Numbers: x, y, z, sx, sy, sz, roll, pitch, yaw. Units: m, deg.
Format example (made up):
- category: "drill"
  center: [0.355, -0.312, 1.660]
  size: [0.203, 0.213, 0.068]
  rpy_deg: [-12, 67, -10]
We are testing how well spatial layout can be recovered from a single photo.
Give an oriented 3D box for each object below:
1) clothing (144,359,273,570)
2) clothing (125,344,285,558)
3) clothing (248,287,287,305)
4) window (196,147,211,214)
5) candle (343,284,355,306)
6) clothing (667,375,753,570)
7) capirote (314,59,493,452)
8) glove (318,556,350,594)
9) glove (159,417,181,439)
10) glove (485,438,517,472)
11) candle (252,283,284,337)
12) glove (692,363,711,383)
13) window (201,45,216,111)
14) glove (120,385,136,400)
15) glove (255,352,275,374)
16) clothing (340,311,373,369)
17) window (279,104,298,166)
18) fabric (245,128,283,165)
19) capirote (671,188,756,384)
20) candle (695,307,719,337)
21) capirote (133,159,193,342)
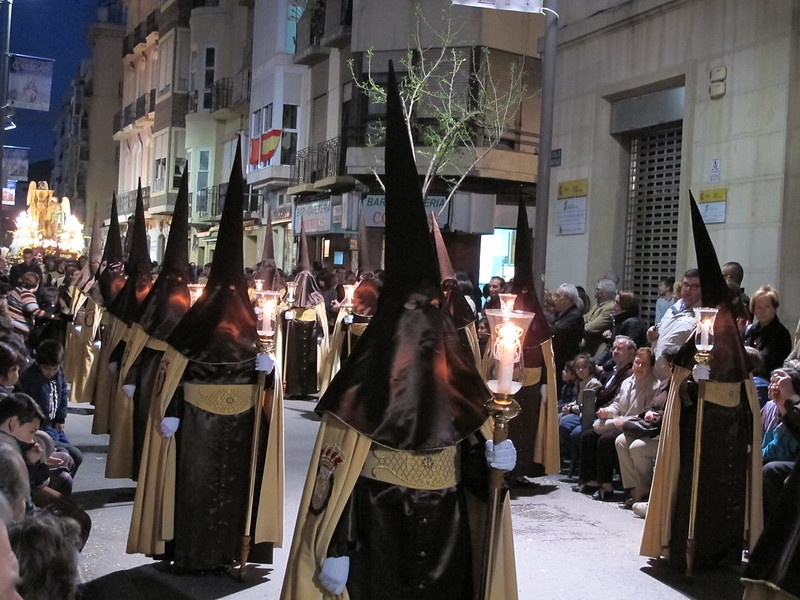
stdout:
- category: "clothing"
  center: [-1.625, 1.226, 7.851]
  size: [1.332, 2.605, 0.730]
  rpy_deg: [2, 20, -13]
- category: "clothing"
  center: [-1.657, 1.170, 7.824]
  size: [1.373, 2.725, 0.757]
  rpy_deg: [2, 20, -14]
- category: "clothing"
  center: [-1.485, -0.046, 9.684]
  size: [0.316, 0.108, 0.323]
  rpy_deg: [-1, -1, 42]
- category: "window"
  center: [-8.875, -5.285, 39.329]
  size: [0.092, 3.049, 0.707]
  rpy_deg: [20, 20, 41]
- category: "candle"
  center: [-0.799, -0.086, 14.307]
  size: [0.279, 0.348, 0.277]
  rpy_deg: [1, -1, -22]
- category: "clothing"
  center: [3.194, 1.427, 8.558]
  size: [0.580, 2.022, 0.474]
  rpy_deg: [-13, -47, 32]
- category: "capirote"
  center: [0.055, -0.197, 5.847]
  size: [1.070, 2.351, 0.437]
  rpy_deg: [2, 7, 4]
- category: "glove"
  center: [-0.437, 1.838, 5.838]
  size: [0.202, 0.281, 0.183]
  rpy_deg: [0, 7, -11]
- category: "glove"
  center: [-2.031, 1.123, 7.713]
  size: [0.170, 0.174, 0.156]
  rpy_deg: [3, -9, 21]
- category: "glove"
  center: [0.677, 1.056, 6.048]
  size: [0.215, 0.234, 0.373]
  rpy_deg: [-3, 6, 0]
- category: "candle"
  center: [-1.205, 0.142, 7.793]
  size: [0.288, 0.473, 0.287]
  rpy_deg: [-4, -9, 36]
- category: "glove"
  center: [2.775, 0.677, 8.095]
  size: [0.150, 0.162, 0.179]
  rpy_deg: [6, -18, 2]
- category: "window"
  center: [-8.528, -10.089, 39.261]
  size: [0.488, 2.027, 0.187]
  rpy_deg: [4, 15, -2]
- category: "glove"
  center: [-2.836, 0.956, 9.182]
  size: [0.172, 0.160, 0.192]
  rpy_deg: [3, -18, -13]
- category: "glove"
  center: [-1.212, 0.577, 7.902]
  size: [0.133, 0.234, 0.265]
  rpy_deg: [3, 7, 16]
- category: "clothing"
  center: [-0.601, 0.653, 14.164]
  size: [0.484, 0.937, 0.685]
  rpy_deg: [6, 11, -3]
- category: "window"
  center: [-3.884, -5.932, 30.882]
  size: [0.618, 2.586, 0.063]
  rpy_deg: [1, -21, -5]
- category: "fabric"
  center: [-4.829, -5.508, 31.471]
  size: [0.158, 0.947, 1.881]
  rpy_deg: [15, -14, -32]
- category: "capirote"
  center: [2.986, -0.078, 8.188]
  size: [0.625, 1.731, 0.486]
  rpy_deg: [4, 8, 21]
- category: "candle"
  center: [2.768, 0.207, 8.018]
  size: [0.228, 0.287, 0.233]
  rpy_deg: [0, 4, 1]
- category: "capirote"
  center: [-2.388, -0.521, 9.487]
  size: [0.969, 1.866, 0.695]
  rpy_deg: [7, 26, -1]
